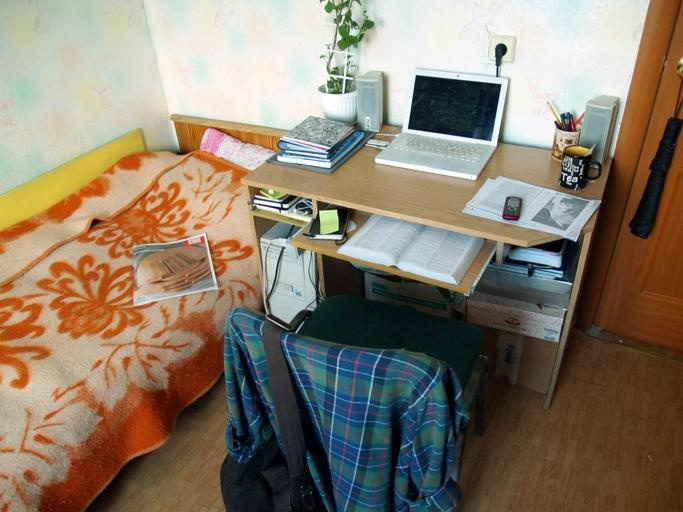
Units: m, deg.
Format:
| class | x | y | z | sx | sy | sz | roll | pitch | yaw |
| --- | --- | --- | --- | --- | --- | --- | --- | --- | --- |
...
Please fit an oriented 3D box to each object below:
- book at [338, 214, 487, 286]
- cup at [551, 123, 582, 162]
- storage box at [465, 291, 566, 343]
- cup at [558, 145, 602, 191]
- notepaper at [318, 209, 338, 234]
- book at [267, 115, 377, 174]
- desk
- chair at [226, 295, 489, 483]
| class | x | y | z | sx | sy | sz | roll | pitch | yaw |
| --- | --- | --- | --- | --- | --- | --- | --- | --- | --- |
| book | 0.271 | -0.039 | 1.896 | 0.503 | 0.086 | 0.274 | 16 | 33 | 21 |
| cup | 0.932 | -0.477 | 2.040 | 0.098 | 0.122 | 0.110 | 10 | 28 | 21 |
| storage box | 0.739 | 0.252 | 2.086 | 0.310 | 0.105 | 0.223 | 16 | 35 | 29 |
| cup | 0.918 | -0.329 | 1.866 | 0.103 | 0.139 | 0.160 | -19 | 35 | -14 |
| notepaper | -0.054 | -0.140 | 2.012 | 0.110 | 0.017 | 0.152 | -8 | 41 | 0 |
| book | -0.064 | -0.506 | 2.219 | 0.305 | 0.076 | 0.314 | 15 | 39 | 24 |
| desk | 0.391 | 0.273 | 2.444 | 1.650 | 1.127 | 0.921 | 17 | 48 | 22 |
| chair | 0.203 | 0.416 | 1.789 | 0.590 | 0.400 | 0.431 | 11 | 44 | 18 |
